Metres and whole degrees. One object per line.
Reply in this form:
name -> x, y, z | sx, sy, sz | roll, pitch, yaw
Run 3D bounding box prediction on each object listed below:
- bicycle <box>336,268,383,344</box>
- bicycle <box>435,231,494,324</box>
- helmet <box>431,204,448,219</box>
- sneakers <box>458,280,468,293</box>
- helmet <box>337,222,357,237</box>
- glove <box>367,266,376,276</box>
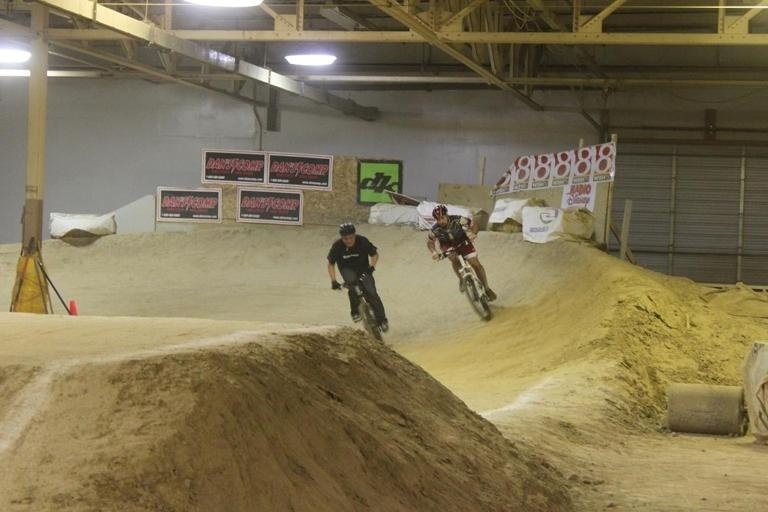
bicycle -> -0.358, 1.020, 19.534 | 0.830, 1.289, 0.905 | 10, 13, 23
bicycle -> 1.986, 0.704, 21.026 | 0.954, 1.202, 1.940 | -35, 6, 7
helmet -> 1.234, -1.014, 20.173 | 0.312, 0.393, 0.371 | 4, 9, 39
sneakers -> 1.777, 0.641, 20.137 | 0.095, 0.222, 0.321 | -17, -34, -4
helmet -> -0.766, -0.582, 19.304 | 0.249, 0.283, 0.344 | -3, -27, -8
glove -> -0.257, 0.262, 19.476 | 0.146, 0.148, 0.143 | 3, -4, -5
